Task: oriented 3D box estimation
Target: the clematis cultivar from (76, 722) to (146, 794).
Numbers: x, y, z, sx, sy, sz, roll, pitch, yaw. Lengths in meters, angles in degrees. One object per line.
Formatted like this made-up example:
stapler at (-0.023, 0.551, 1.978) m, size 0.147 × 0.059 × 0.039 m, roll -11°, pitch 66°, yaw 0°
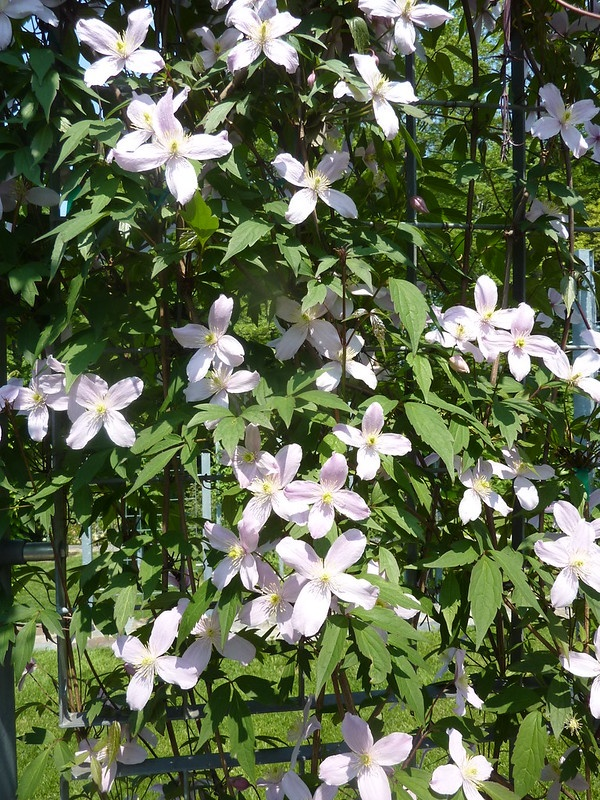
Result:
clematis cultivar at (-0.352, 0.651, 1.469) m, size 0.163 × 0.151 × 0.073 m, roll 2°, pitch 22°, yaw -6°

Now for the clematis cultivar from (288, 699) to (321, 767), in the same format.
clematis cultivar at (0.004, 0.607, 1.418) m, size 0.037 × 0.074 × 0.087 m, roll 27°, pitch 6°, yaw -3°
